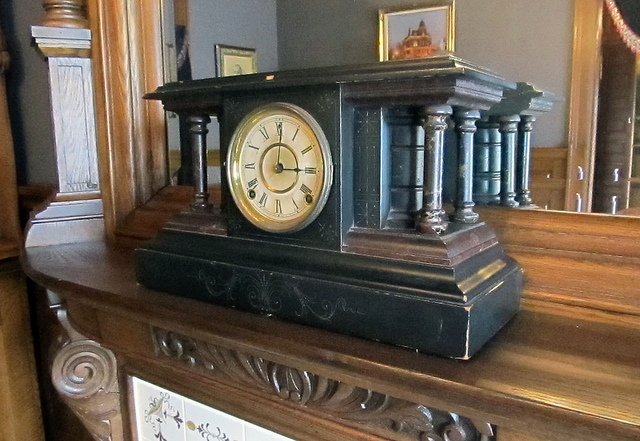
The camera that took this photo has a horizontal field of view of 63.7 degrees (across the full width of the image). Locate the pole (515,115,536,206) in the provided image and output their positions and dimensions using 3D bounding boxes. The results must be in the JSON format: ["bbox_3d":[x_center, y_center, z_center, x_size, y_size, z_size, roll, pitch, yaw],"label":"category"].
[{"bbox_3d":[0.415,-0.119,1.042,0.036,0.183,0.007,4,13,21],"label":"pole"}]

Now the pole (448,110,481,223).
[{"bbox_3d":[0.278,-0.106,0.997,0.059,0.209,0.108,2,12,14],"label":"pole"}]

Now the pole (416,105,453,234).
[{"bbox_3d":[0.198,-0.090,0.904,0.055,0.220,0.069,1,12,10],"label":"pole"}]

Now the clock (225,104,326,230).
[{"bbox_3d":[-0.076,-0.102,0.966,0.234,0.261,0.045,2,4,26],"label":"clock"}]

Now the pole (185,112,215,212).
[{"bbox_3d":[-0.268,-0.132,1.147,0.053,0.211,0.110,-3,12,-12],"label":"pole"}]
